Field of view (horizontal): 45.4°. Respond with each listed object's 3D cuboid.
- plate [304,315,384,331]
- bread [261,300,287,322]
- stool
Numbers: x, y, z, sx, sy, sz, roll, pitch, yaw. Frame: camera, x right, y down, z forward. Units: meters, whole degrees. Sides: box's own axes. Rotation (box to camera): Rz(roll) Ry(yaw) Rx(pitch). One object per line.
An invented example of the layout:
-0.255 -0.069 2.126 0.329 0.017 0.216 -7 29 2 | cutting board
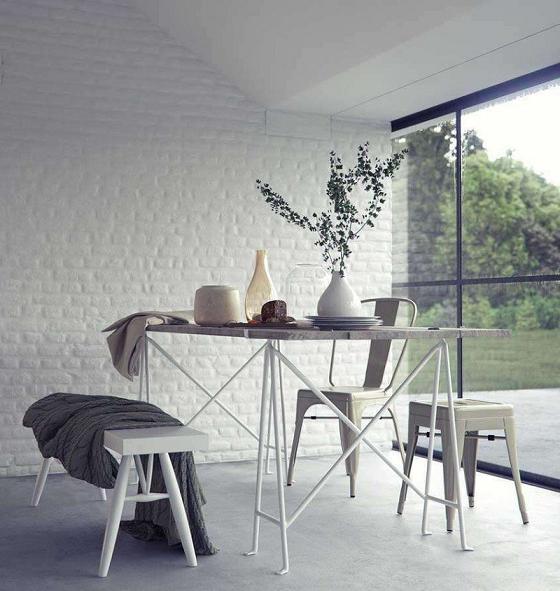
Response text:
0.211 0.089 2.198 0.240 0.049 0.187 0 -4 5 | plate
-0.020 0.059 2.599 0.114 0.096 0.083 2 -4 -40 | bread
0.764 0.688 2.824 0.549 0.407 0.513 -3 -9 27 | stool
